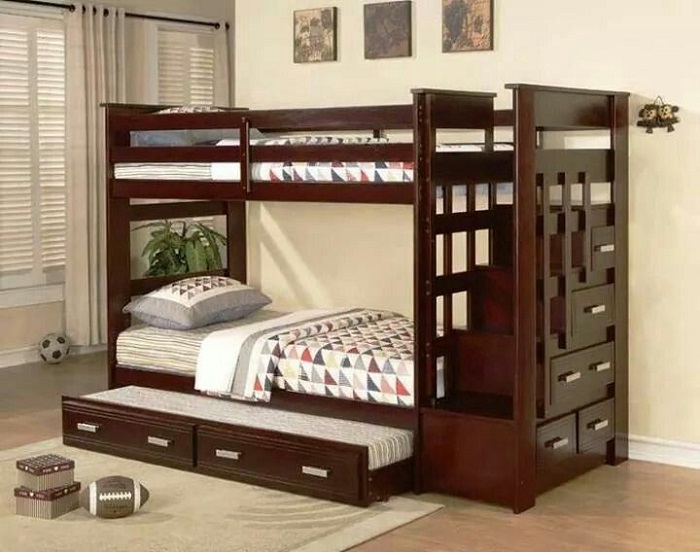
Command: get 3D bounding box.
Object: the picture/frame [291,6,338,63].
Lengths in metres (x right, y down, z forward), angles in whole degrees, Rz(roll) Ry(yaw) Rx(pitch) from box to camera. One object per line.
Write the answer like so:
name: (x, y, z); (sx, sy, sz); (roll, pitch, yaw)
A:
picture/frame: (-0.210, -1.524, 4.341); (0.428, 0.351, 0.043); (5, 9, 34)

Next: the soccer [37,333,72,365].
soccer: (-2.308, 0.563, 5.365); (0.207, 0.217, 0.183); (-2, 6, -23)

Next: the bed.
bed: (0.206, -0.006, 3.722); (1.041, 1.816, 2.489); (-7, 8, -43)

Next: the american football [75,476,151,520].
american football: (-0.960, 0.892, 2.796); (0.290, 0.154, 0.175); (2, -1, -18)
